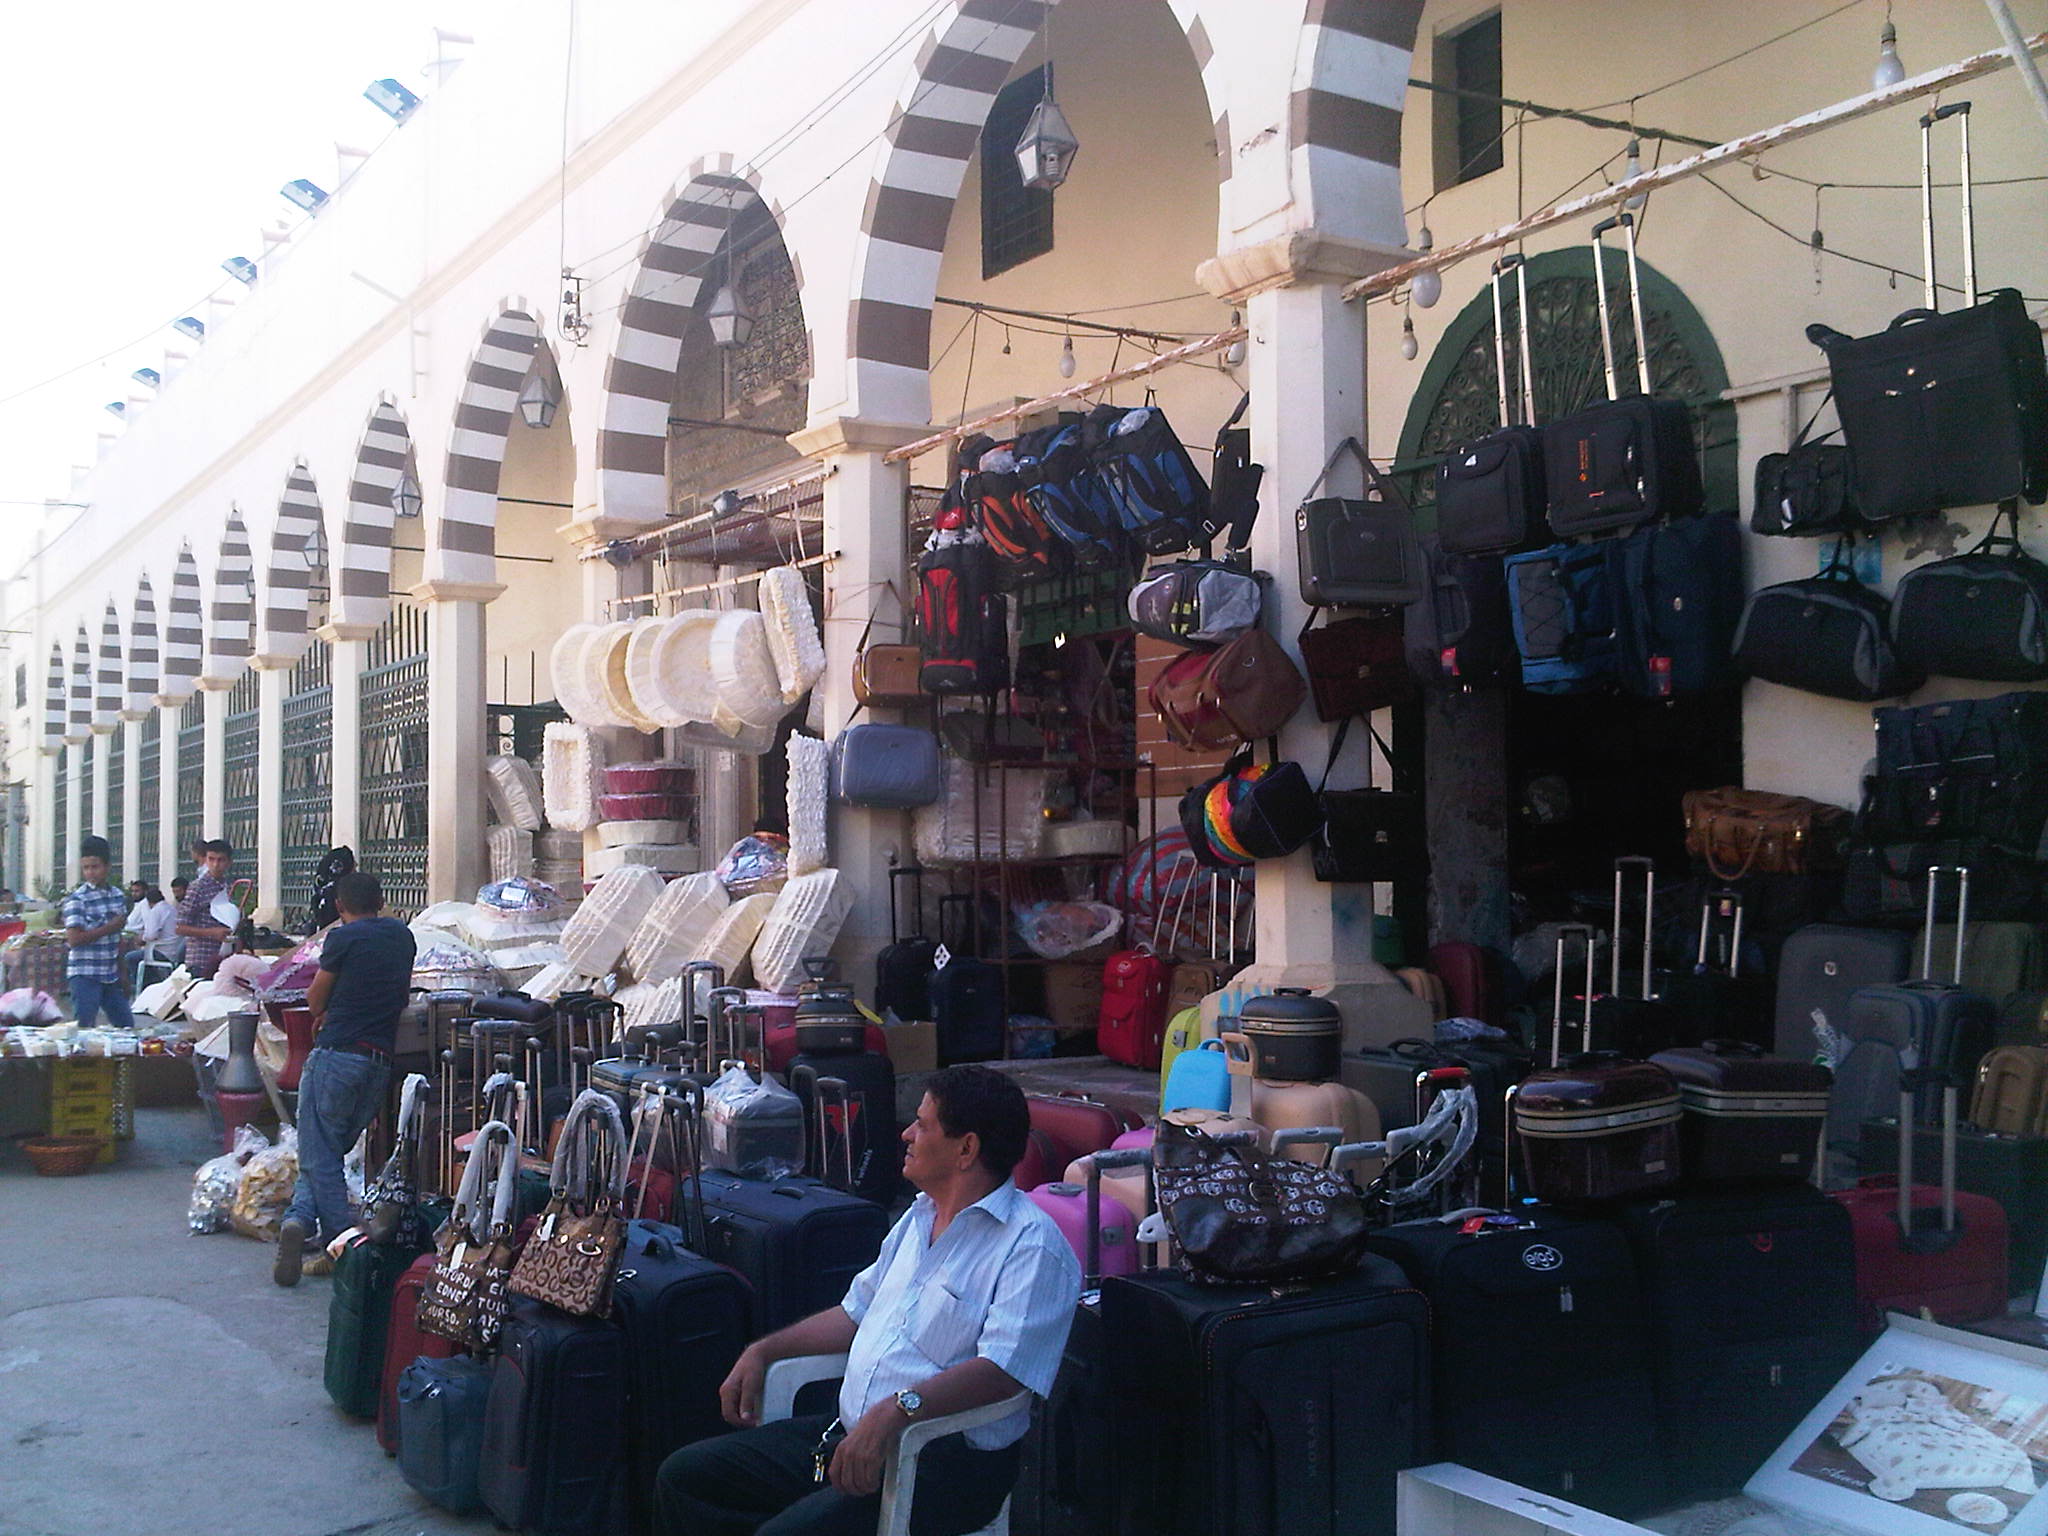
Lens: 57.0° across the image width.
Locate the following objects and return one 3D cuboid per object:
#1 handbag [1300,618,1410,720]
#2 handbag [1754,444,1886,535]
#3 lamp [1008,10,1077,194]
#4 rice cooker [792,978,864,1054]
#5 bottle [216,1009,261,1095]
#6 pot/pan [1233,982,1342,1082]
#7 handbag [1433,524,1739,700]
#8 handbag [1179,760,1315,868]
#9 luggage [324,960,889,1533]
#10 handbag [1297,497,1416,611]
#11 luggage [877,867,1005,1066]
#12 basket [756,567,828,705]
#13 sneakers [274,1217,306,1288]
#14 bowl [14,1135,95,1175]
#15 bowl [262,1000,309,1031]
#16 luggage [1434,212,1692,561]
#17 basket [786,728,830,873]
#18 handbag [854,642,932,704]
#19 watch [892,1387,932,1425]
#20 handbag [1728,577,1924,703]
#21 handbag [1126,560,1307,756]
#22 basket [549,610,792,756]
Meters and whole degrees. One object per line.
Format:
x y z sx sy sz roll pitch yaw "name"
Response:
1.395 -0.428 7.896 0.420 0.448 0.100 -12 5 -13 "handbag"
3.249 -1.144 7.761 0.300 0.413 0.413 -2 4 -23 "handbag"
0.128 -3.245 9.323 0.260 0.631 0.265 2 3 -3 "lamp"
-0.923 1.177 8.774 0.318 0.329 0.211 -1 -2 -13 "rice cooker"
-4.384 1.582 10.532 0.371 0.462 0.211 -5 -6 21 "bottle"
0.968 0.964 6.860 0.296 0.269 0.307 1 -7 -1 "pot/pan"
2.397 -0.643 7.840 1.028 0.794 1.039 -6 -5 27 "handbag"
0.965 0.194 7.999 0.476 0.494 0.380 -30 -8 8 "handbag"
-1.363 1.334 6.123 1.341 1.171 1.671 -1 1 38 "luggage"
1.389 -0.903 7.869 0.514 0.441 0.218 -1 -6 -21 "handbag"
-0.467 1.050 10.365 0.727 1.076 0.991 -2 -6 -5 "luggage"
-1.383 -0.753 10.832 0.188 0.751 0.440 -2 14 12 "basket"
-3.144 2.079 8.102 0.105 0.336 0.153 6 0 -8 "sneakers"
-5.576 2.226 10.875 0.389 0.208 0.422 -3 -6 0 "bowl"
-3.738 1.250 9.578 0.216 0.174 0.218 -2 -5 0 "bowl"
2.168 -1.426 7.721 0.461 1.018 0.975 3 -8 -44 "luggage"
-1.191 0.195 10.449 0.187 0.627 0.460 5 -1 -2 "basket"
-0.726 -0.515 10.273 0.312 0.249 0.324 0 -3 -1 "handbag"
-0.269 1.512 4.484 0.052 0.084 0.075 -2 -17 -41 "watch"
3.279 -0.562 7.799 0.812 0.746 0.436 7 13 44 "handbag"
0.813 -0.515 8.068 0.727 0.822 0.386 -8 -8 42 "handbag"
-2.176 -0.645 11.946 0.744 0.918 2.252 1 -7 -33 "basket"
